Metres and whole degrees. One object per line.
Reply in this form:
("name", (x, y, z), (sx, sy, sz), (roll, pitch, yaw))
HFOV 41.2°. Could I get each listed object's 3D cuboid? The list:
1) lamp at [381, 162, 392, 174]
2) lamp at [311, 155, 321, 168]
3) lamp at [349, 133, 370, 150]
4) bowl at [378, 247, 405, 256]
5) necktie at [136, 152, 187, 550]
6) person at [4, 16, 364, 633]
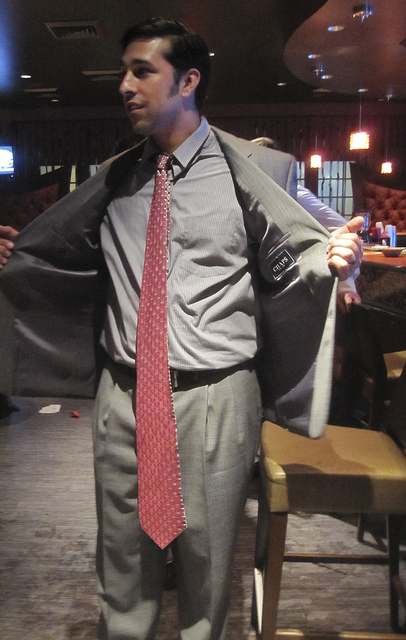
("lamp", (3.293, -2.741, 9.690), (0.251, 0.225, 0.057), (2, -5, -8))
("lamp", (2.071, -2.902, 9.862), (0.170, 0.219, 0.346), (1, 10, 9))
("lamp", (2.518, -2.883, 8.679), (0.259, 0.230, 0.380), (2, 10, 10))
("bowl", (1.027, -0.371, 2.919), (0.115, 0.047, 0.166), (3, 10, 17))
("necktie", (-0.074, 0.106, 1.142), (0.103, 0.697, 0.070), (-3, -3, 24))
("person", (-0.084, 0.016, 1.240), (0.468, 1.367, 0.800), (-9, 14, -40))
